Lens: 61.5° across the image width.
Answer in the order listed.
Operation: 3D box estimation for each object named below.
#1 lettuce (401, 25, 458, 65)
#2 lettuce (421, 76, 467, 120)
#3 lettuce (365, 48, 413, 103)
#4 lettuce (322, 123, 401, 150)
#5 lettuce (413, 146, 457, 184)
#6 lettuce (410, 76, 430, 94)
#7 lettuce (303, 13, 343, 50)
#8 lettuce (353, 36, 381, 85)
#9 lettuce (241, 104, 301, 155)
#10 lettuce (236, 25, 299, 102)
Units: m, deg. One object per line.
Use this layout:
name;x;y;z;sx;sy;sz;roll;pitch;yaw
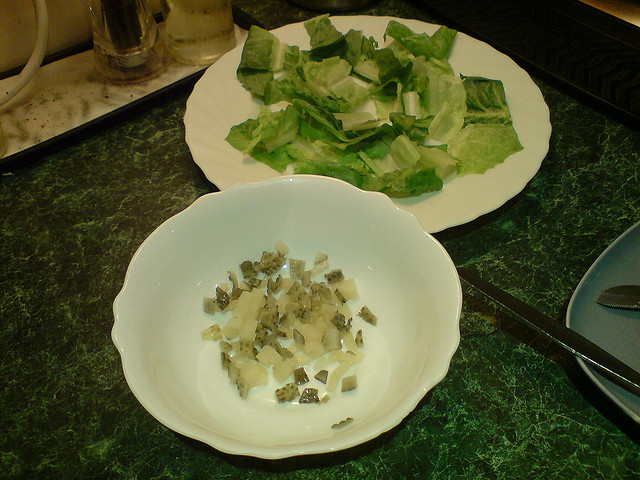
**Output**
lettuce;0.305;-0.524;1.472;0.168;0.196;0.078;4;103;-35
lettuce;0.321;-0.364;1.370;0.106;0.023;0.107;9;77;0
lettuce;0.206;-0.441;1.444;0.120;0.173;0.074;-7;71;26
lettuce;0.099;-0.247;1.330;0.201;0.064;0.066;-5;25;14
lettuce;0.273;-0.179;1.260;0.096;0.083;0.029;-15;29;-40
lettuce;0.263;-0.406;1.397;0.032;0.014;0.051;36;110;40
lettuce;0.004;-0.600;1.532;0.098;0.136;0.039;-19;93;11
lettuce;0.130;-0.484;1.495;0.079;0.035;0.136;-23;62;11
lettuce;-0.118;-0.278;1.312;0.134;0.046;0.122;-29;61;-31
lettuce;-0.148;-0.480;1.512;0.189;0.061;0.202;-26;82;-16
